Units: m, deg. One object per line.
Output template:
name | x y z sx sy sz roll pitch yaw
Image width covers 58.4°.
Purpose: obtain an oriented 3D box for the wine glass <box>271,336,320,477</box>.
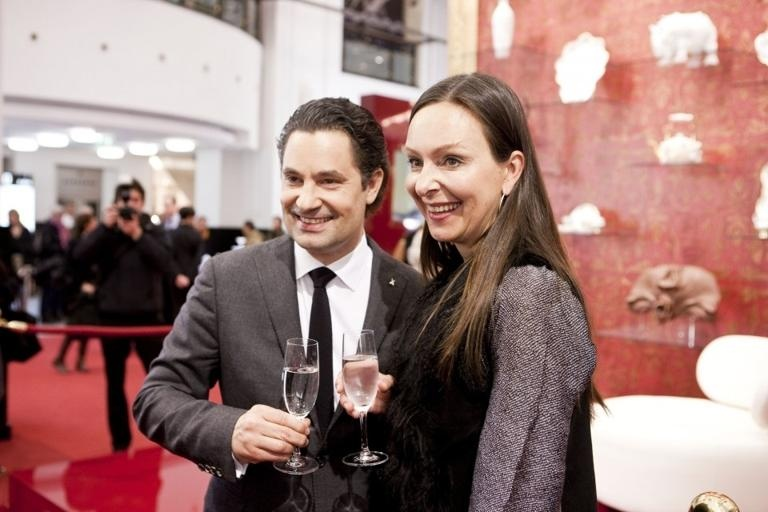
wine glass | -0.376 0.684 3.031 0.198 0.631 0.288 2 1 -10
